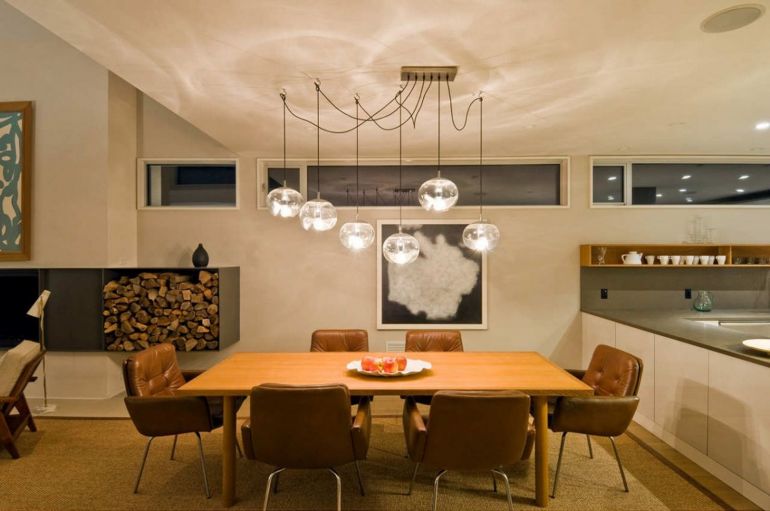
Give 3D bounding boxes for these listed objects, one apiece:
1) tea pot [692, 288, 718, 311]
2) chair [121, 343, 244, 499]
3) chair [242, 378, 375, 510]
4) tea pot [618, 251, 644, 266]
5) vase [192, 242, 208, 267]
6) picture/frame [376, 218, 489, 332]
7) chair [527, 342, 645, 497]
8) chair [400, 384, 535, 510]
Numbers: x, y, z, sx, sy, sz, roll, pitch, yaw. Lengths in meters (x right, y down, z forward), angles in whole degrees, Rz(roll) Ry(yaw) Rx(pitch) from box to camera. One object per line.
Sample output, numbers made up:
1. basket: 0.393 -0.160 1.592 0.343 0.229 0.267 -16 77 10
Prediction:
1. tea pot: 3.976 0.553 7.459 0.300 0.342 0.255 1 6 16
2. chair: -2.232 1.633 6.451 1.343 1.631 1.429 0 -4 -3
3. chair: -0.754 1.690 5.838 1.189 1.289 1.197 0 -5 2
4. tea pot: 3.074 0.042 7.540 0.248 0.162 0.190 -1 -2 10
5. vase: -2.298 0.001 7.589 0.189 0.295 0.228 0 3 -16
6. picture/frame: 0.629 0.267 7.506 1.506 1.346 0.057 0 -1 0
7. chair: 2.349 1.633 6.486 1.252 1.803 1.504 -1 -7 6
8. chair: 0.768 1.569 5.772 1.224 1.377 1.176 1 -2 3
